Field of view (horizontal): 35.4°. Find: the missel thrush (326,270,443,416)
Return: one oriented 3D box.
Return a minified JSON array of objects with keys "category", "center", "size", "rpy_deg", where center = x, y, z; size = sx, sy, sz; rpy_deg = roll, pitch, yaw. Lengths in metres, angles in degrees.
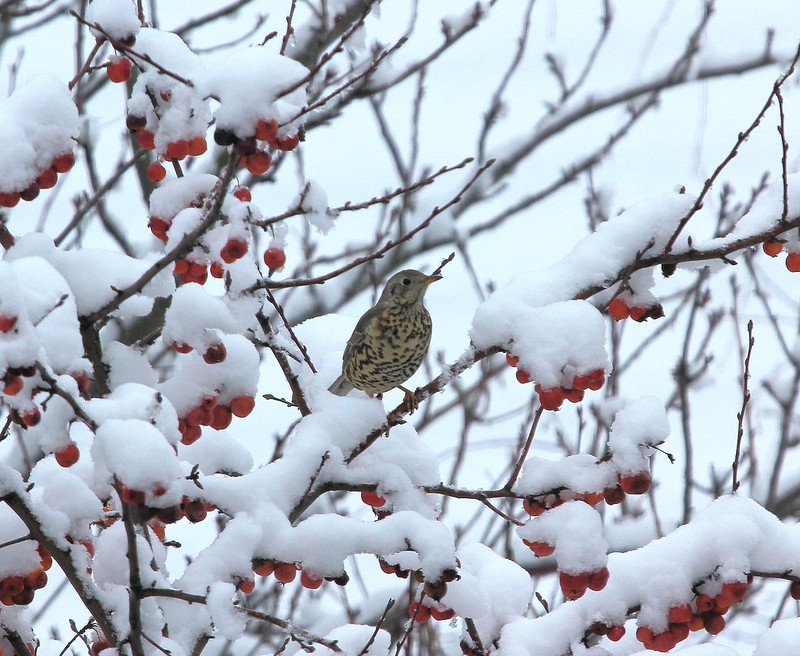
[{"category":"missel thrush","center":[-0.100,0.025,7.804],"size":[0.856,0.451,0.971],"rpy_deg":[19,-66,44]}]
